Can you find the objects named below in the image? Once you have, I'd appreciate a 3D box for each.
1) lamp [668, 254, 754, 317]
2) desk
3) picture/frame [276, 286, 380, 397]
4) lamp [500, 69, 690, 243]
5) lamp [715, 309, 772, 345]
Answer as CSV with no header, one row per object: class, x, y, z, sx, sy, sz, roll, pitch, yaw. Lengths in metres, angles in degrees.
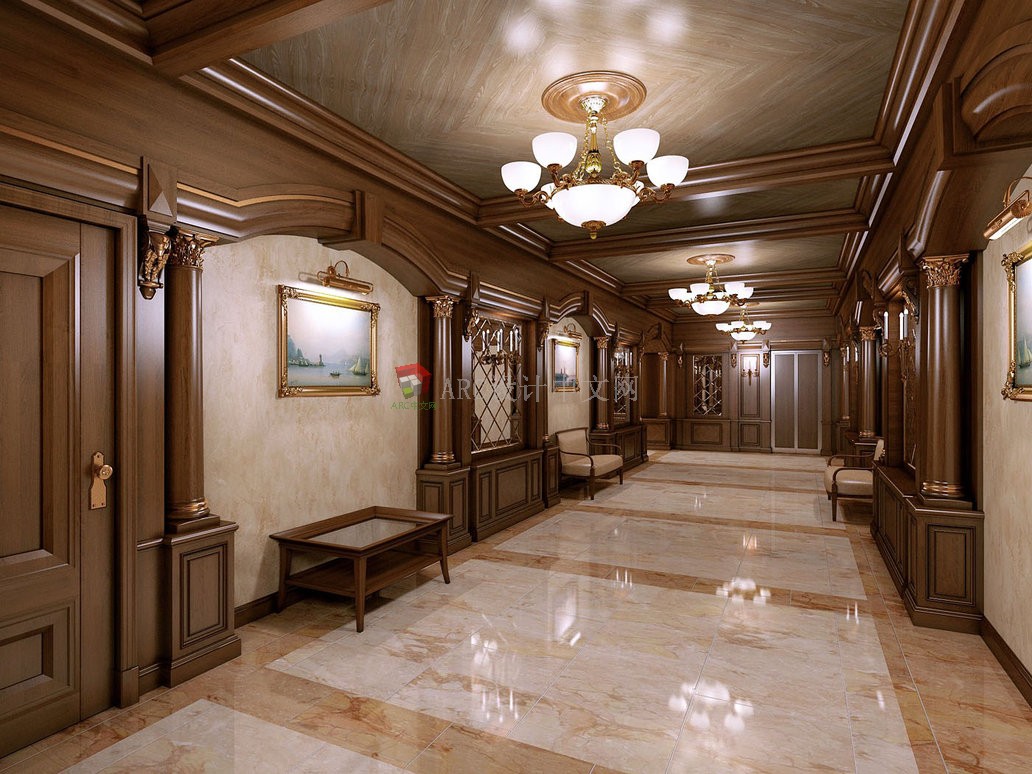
lamp,2.849,-1.438,9.532,1.197,0.867,1.314,0,3,-11
desk,-1.320,1.379,5.263,0.773,0.463,1.156,0,0,23
picture/frame,-1.640,-0.389,5.583,0.064,0.735,1.044,-3,-5,30
lamp,0.561,-1.583,4.654,1.346,0.956,1.110,0,0,9
lamp,4.540,-1.170,12.885,1.115,0.805,1.118,-3,2,-10
